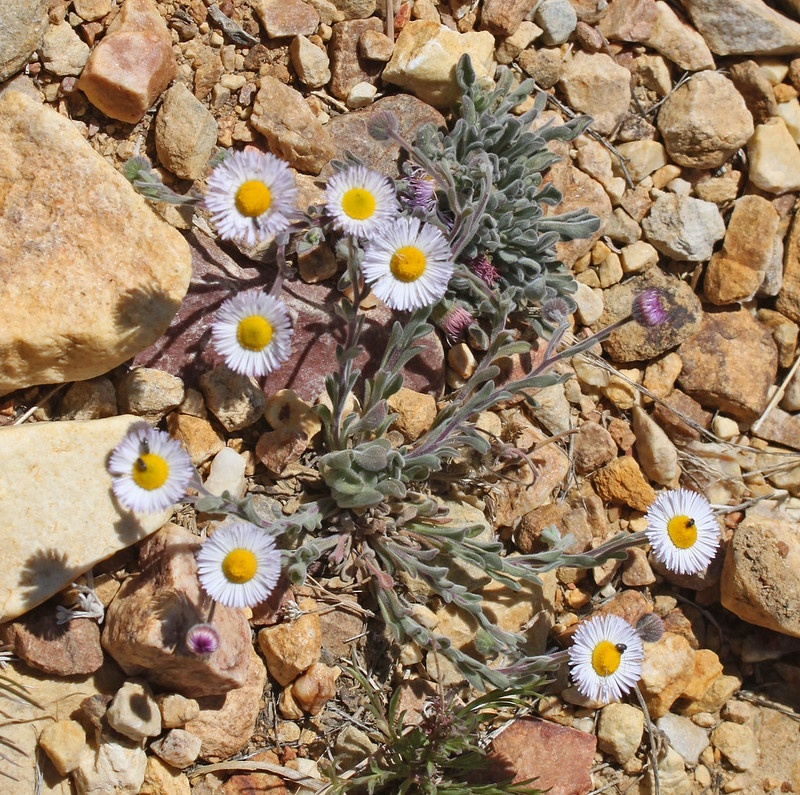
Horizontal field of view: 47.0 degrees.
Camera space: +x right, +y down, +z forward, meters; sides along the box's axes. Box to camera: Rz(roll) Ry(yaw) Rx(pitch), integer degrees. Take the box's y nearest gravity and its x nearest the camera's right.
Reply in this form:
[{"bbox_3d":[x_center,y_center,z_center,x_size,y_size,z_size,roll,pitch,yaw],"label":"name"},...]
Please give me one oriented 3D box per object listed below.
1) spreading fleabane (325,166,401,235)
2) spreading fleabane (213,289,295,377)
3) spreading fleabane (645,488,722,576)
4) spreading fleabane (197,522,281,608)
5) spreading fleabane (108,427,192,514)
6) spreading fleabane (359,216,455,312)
[{"bbox_3d":[-0.127,-0.639,3.263,0.231,0.458,0.244,-14,84,-2],"label":"spreading fleabane"},{"bbox_3d":[-0.466,-0.206,2.963,0.250,0.104,0.257,-29,85,-3],"label":"spreading fleabane"},{"bbox_3d":[1.017,0.489,3.329,0.316,0.119,0.295,15,76,-23],"label":"spreading fleabane"},{"bbox_3d":[-0.507,0.536,2.933,0.256,0.099,0.252,40,85,3],"label":"spreading fleabane"},{"bbox_3d":[-0.793,0.244,3.003,0.265,0.246,0.260,21,84,2],"label":"spreading fleabane"},{"bbox_3d":[0.028,-0.442,3.151,0.292,0.174,0.315,14,84,1],"label":"spreading fleabane"}]
